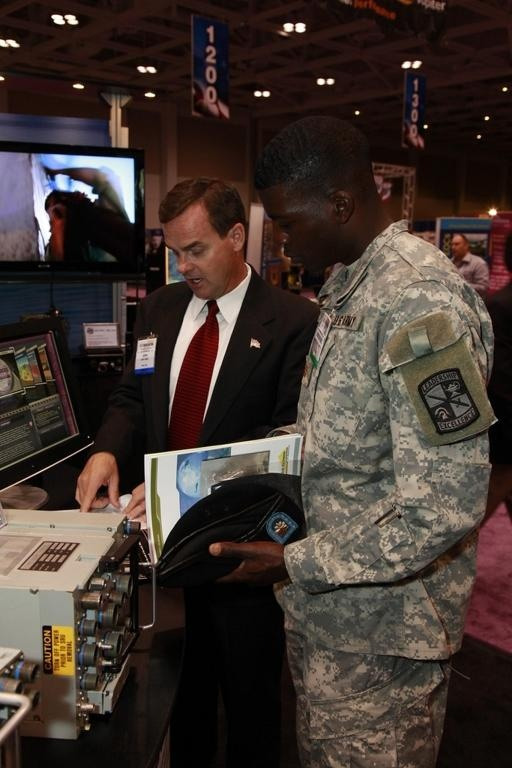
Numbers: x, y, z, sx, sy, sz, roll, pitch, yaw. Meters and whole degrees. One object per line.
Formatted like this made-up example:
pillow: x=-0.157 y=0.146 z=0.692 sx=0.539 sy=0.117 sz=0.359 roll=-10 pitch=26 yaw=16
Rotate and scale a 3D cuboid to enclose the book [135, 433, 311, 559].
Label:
book: x=-0.048 y=0.194 z=1.002 sx=0.298 sy=0.208 sz=0.030 roll=-4 pitch=5 yaw=-21
